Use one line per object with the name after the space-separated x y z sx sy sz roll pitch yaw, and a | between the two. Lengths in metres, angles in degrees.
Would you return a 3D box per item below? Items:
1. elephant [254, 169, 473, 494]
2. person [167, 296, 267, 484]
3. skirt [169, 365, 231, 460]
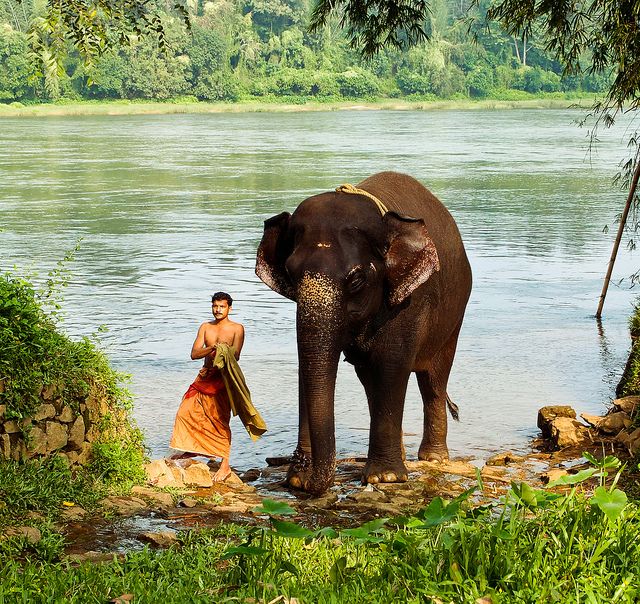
0.422 0.195 9.088 1.452 2.182 3.128 3 2 21 | elephant
-0.777 0.638 8.949 0.720 1.303 0.871 2 12 -7 | person
-0.883 0.825 9.090 0.458 0.150 0.924 3 45 0 | skirt
